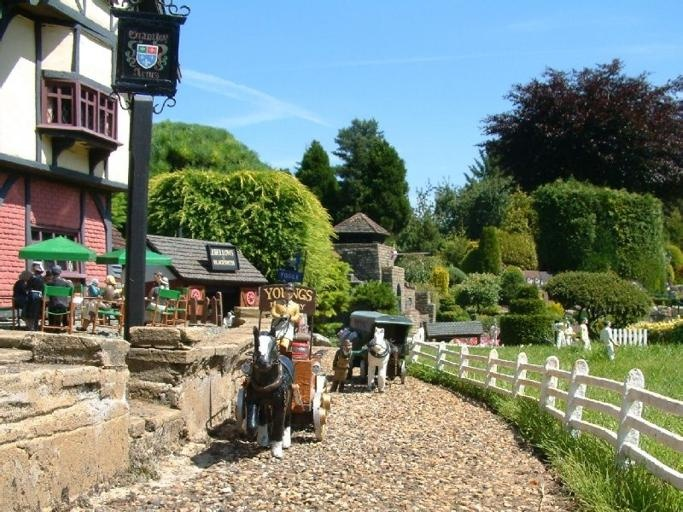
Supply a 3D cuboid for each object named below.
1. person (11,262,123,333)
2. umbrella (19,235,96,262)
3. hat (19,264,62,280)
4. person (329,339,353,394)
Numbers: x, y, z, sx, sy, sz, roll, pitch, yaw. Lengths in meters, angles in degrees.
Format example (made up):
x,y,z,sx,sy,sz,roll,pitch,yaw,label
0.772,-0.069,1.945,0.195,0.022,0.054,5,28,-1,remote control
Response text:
x,y,z,sx,sy,sz,roll,pitch,yaw,label
-5.409,0.820,12.827,1.118,1.126,1.672,1,1,-4,person
-5.685,-0.093,13.590,1.211,0.511,1.615,1,5,-38,umbrella
-5.506,0.366,12.754,0.482,0.322,0.660,0,-1,-29,hat
-0.006,2.346,14.569,0.327,1.380,0.357,7,25,-3,person
